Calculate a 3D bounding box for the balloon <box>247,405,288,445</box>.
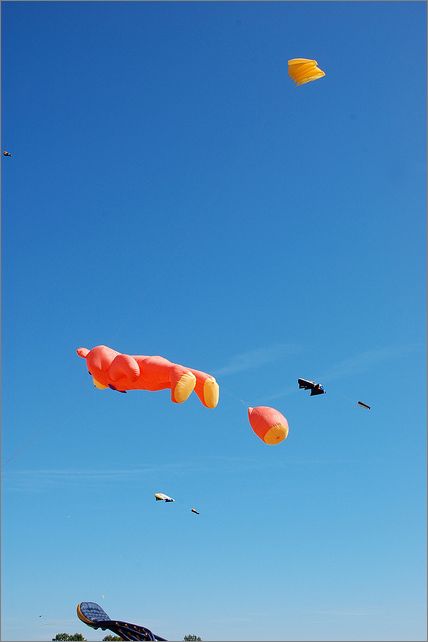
[{"bbox_3d":[2.109,4.061,38.733,1.522,1.564,0.814,6,-36,-1],"label":"balloon"}]
